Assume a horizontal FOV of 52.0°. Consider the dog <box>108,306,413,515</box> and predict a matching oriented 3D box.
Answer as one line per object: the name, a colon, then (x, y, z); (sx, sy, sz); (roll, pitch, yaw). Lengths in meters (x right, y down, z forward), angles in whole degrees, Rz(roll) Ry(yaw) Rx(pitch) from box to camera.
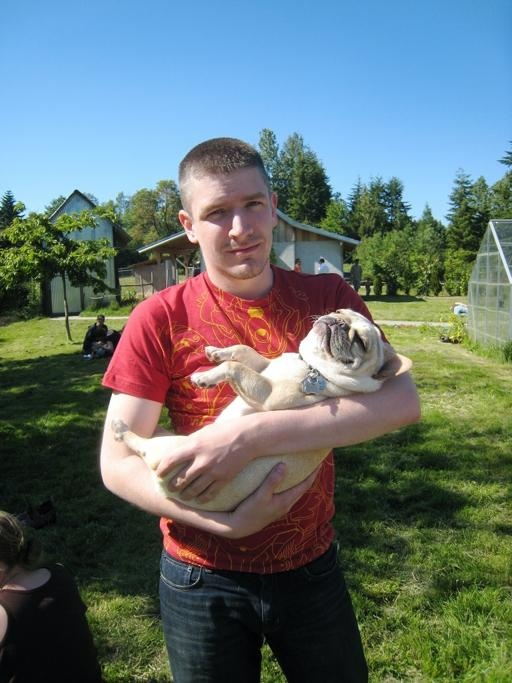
dog: (0.048, 0.211, 1.806); (0.966, 0.583, 0.388); (-7, 10, -24)
